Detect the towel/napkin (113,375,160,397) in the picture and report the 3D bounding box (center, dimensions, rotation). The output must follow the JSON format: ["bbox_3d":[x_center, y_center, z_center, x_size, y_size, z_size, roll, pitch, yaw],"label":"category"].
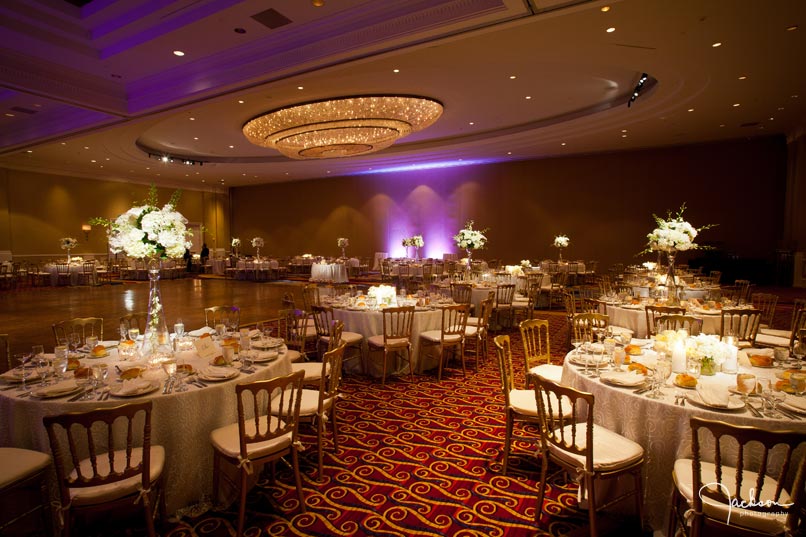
[{"bbox_3d":[-2.461,1.111,4.589,0.222,0.060,0.217,2,4,-1],"label":"towel/napkin"}]

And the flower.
[{"bbox_3d":[-2.787,-0.496,5.462,0.868,0.629,0.860,-10,23,17],"label":"flower"}]

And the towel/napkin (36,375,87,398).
[{"bbox_3d":[-3.157,1.115,4.577,0.401,0.058,0.363,7,15,24],"label":"towel/napkin"}]
